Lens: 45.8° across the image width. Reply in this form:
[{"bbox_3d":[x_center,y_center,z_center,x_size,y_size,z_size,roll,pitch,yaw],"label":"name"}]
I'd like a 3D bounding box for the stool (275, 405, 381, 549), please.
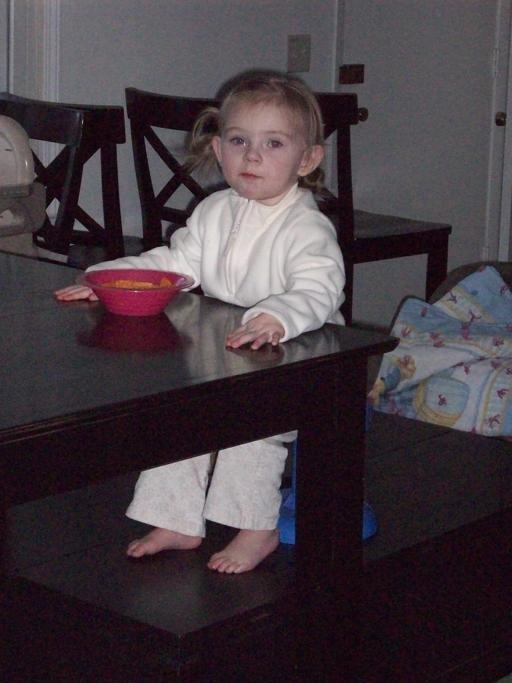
[{"bbox_3d":[0.065,0.173,0.753,0.162,0.160,0.156,-3,-22,9],"label":"stool"}]

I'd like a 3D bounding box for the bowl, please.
[{"bbox_3d":[-0.127,-0.046,0.640,0.117,0.032,0.116,2,7,0],"label":"bowl"}]
